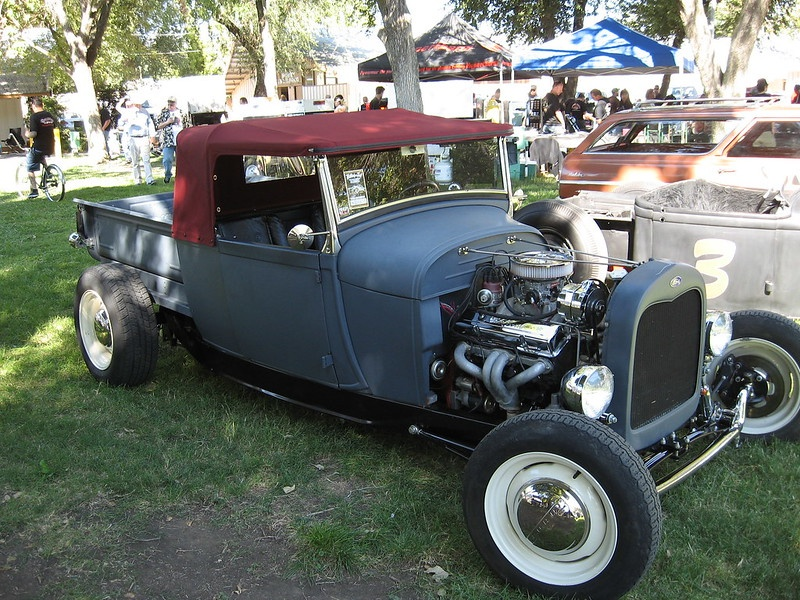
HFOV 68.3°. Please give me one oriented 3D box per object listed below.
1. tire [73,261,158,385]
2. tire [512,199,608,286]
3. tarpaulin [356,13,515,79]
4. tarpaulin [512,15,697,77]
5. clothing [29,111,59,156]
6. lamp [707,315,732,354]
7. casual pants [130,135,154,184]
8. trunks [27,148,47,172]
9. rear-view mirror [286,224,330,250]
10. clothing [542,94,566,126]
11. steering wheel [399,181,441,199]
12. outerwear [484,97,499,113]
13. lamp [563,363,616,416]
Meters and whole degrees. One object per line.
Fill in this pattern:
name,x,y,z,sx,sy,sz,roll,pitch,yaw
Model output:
tire,-2.343,0.195,4.880,0.245,0.832,0.761,-13,25,-40
tire,1.406,-0.514,5.293,0.330,0.929,0.879,-38,50,-27
tarpaulin,1.771,-7.189,16.621,2.705,1.676,1.893,6,17,20
tarpaulin,4.952,-6.168,14.504,3.853,1.353,1.706,9,18,29
clothing,-8.016,-3.821,13.250,0.355,0.880,0.629,27,34,12
lamp,2.010,0.206,3.737,0.082,0.246,0.217,-3,0,44
casual pants,-6.404,-3.530,14.545,0.601,1.396,0.372,-1,20,-6
trunks,-8.018,-3.100,12.976,0.344,0.465,0.258,21,-10,14
rear-view mirror,-0.597,-0.395,3.671,0.159,0.132,0.238,1,-2,14
clothing,3.899,-4.853,15.018,0.414,0.658,0.773,-18,30,-21
steering wheel,0.121,-0.777,4.077,0.193,0.048,0.143,-29,11,-40
outerwear,2.327,-5.024,15.239,0.375,0.175,0.555,-8,11,-9
lamp,1.004,0.481,3.196,0.321,0.312,0.195,0,8,-35
